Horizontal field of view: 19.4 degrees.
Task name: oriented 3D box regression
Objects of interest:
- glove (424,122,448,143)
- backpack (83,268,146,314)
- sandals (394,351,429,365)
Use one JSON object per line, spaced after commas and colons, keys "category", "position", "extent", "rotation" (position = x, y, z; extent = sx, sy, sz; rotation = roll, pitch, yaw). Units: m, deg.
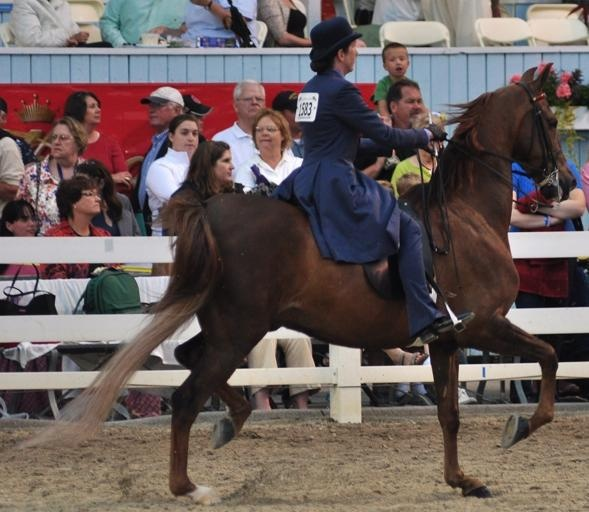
{"category": "glove", "position": [1.276, -1.110, 15.797], "extent": [0.125, 0.170, 0.174], "rotation": [1, 23, 36]}
{"category": "backpack", "position": [-1.837, 0.409, 17.310], "extent": [0.480, 0.544, 0.368], "rotation": [-17, -17, 40]}
{"category": "sandals", "position": [1.175, 1.053, 18.084], "extent": [0.178, 0.116, 0.229], "rotation": [7, -6, -42]}
